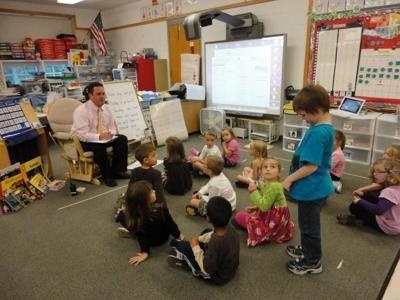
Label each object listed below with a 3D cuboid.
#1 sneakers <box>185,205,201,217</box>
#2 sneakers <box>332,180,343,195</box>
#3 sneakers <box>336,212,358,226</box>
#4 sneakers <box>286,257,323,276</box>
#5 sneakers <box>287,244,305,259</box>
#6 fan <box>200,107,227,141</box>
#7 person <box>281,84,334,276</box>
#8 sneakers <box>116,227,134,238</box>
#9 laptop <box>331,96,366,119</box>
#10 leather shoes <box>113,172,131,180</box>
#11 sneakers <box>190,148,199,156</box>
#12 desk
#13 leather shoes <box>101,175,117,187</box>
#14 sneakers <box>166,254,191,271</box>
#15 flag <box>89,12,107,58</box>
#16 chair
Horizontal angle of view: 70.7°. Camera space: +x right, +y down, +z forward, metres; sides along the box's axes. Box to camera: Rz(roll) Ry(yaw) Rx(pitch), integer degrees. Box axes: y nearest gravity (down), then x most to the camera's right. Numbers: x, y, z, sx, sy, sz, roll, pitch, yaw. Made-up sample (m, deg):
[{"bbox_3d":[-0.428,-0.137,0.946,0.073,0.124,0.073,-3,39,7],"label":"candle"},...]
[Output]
[{"bbox_3d":[-0.082,0.689,3.148,0.160,0.099,0.064,16,32,11],"label":"sneakers"},{"bbox_3d":[1.653,0.455,3.418,0.082,0.105,0.247,-13,48,34],"label":"sneakers"},{"bbox_3d":[1.546,0.746,3.038,0.078,0.102,0.246,2,-2,-30],"label":"sneakers"},{"bbox_3d":[0.881,1.015,2.428,0.300,0.147,0.126,3,18,13],"label":"sneakers"},{"bbox_3d":[0.868,0.925,2.624,0.071,0.084,0.177,-11,19,-29],"label":"sneakers"},{"bbox_3d":[0.197,-0.530,5.858,0.543,0.563,0.211,2,-14,-21],"label":"fan"},{"bbox_3d":[0.880,0.286,2.304,0.379,1.574,0.369,5,21,26],"label":"person"},{"bbox_3d":[-0.768,0.837,2.938,0.189,0.122,0.071,9,26,-7],"label":"sneakers"},{"bbox_3d":[2.284,-0.664,4.317,0.372,0.240,0.372,-23,30,-37],"label":"laptop"},{"bbox_3d":[-1.145,0.379,4.104,0.259,0.107,0.090,-4,16,-16],"label":"leather shoes"},{"bbox_3d":[-0.103,0.016,4.240,0.083,0.068,0.214,1,-4,-16],"label":"sneakers"},{"bbox_3d":[-0.254,-0.870,6.315,0.625,1.194,0.585,15,30,33],"label":"desk"},{"bbox_3d":[-1.294,0.433,3.961,0.282,0.116,0.098,6,10,44],"label":"leather shoes"},{"bbox_3d":[-0.207,1.005,2.504,0.225,0.127,0.104,13,26,41],"label":"sneakers"},{"bbox_3d":[-2.774,-3.107,7.625,0.377,1.069,1.126,-11,20,-17],"label":"flag"},{"bbox_3d":[-1.697,-0.176,4.176,0.917,1.098,0.791,-2,13,-5],"label":"chair"}]
